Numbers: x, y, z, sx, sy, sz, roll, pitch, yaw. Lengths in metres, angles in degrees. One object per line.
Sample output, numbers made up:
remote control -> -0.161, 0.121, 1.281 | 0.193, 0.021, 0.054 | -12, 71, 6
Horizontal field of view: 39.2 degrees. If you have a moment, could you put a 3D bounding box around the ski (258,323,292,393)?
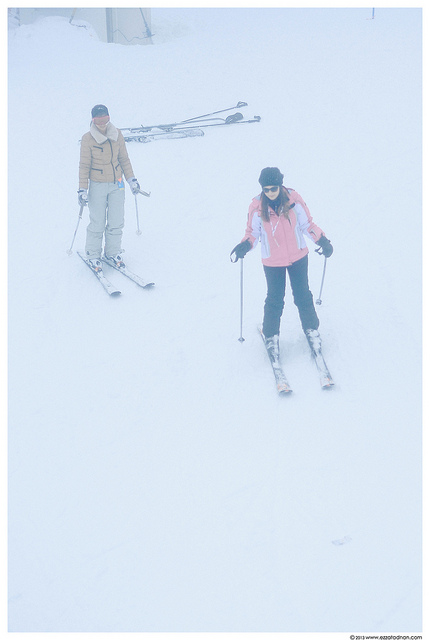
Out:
ski -> 0.448, 0.280, 4.353 | 0.054, 0.045, 0.519 | -4, 49, -4

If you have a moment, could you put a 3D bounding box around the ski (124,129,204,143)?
ski -> -0.604, -2.243, 7.344 | 0.950, 0.175, 0.104 | -2, -2, -10

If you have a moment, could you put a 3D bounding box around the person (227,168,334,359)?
person -> 0.468, -0.395, 4.205 | 0.572, 1.459, 0.458 | -5, 34, 9

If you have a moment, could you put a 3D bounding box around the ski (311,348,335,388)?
ski -> 0.775, 0.341, 4.322 | 0.120, 0.273, 0.200 | -1, -2, -3

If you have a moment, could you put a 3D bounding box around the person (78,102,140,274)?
person -> -0.947, -1.167, 5.306 | 0.472, 1.476, 0.306 | -16, 40, -28

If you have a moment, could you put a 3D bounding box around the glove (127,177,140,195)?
glove -> -0.718, -1.208, 5.368 | 0.079, 0.155, 0.039 | -15, -2, -7

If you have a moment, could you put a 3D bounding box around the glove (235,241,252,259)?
glove -> 0.190, -0.476, 4.103 | 0.043, 0.121, 0.072 | 25, 20, -35
